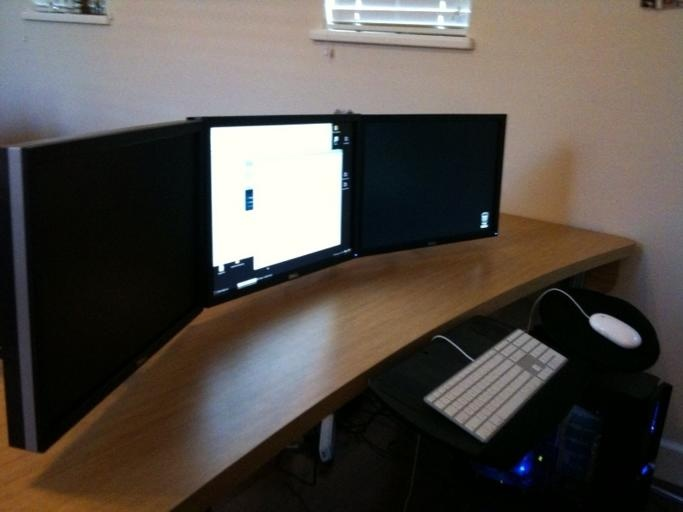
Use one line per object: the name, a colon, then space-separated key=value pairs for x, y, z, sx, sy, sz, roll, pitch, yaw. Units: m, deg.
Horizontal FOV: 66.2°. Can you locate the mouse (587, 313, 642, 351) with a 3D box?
mouse: x=0.779 y=0.213 z=1.489 sx=0.078 sy=0.032 sz=0.131 roll=-12 pitch=28 yaw=-15

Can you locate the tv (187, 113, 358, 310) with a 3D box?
tv: x=-0.189 y=-0.117 z=1.359 sx=0.047 sy=0.408 sz=0.481 roll=15 pitch=21 yaw=39

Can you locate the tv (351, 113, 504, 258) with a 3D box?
tv: x=0.259 y=-0.232 z=1.669 sx=0.441 sy=0.332 sz=0.040 roll=-11 pitch=23 yaw=-28

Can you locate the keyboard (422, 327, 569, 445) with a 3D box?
keyboard: x=0.384 y=0.304 z=1.267 sx=0.425 sy=0.027 sz=0.170 roll=-19 pitch=39 yaw=-40
